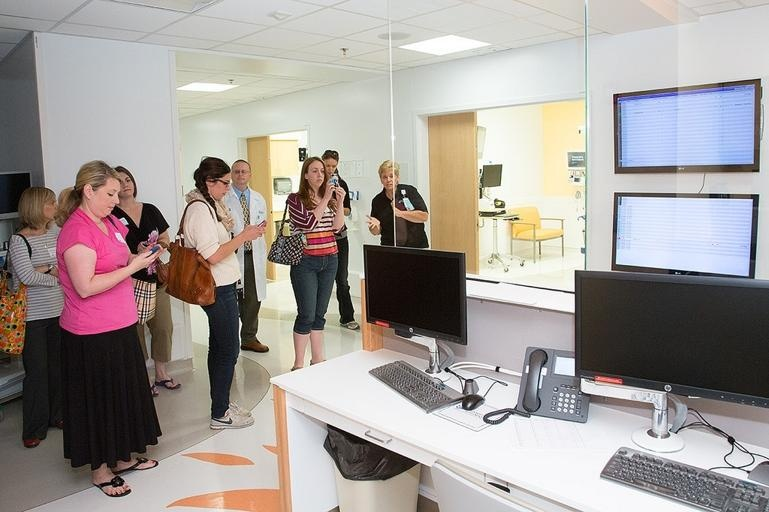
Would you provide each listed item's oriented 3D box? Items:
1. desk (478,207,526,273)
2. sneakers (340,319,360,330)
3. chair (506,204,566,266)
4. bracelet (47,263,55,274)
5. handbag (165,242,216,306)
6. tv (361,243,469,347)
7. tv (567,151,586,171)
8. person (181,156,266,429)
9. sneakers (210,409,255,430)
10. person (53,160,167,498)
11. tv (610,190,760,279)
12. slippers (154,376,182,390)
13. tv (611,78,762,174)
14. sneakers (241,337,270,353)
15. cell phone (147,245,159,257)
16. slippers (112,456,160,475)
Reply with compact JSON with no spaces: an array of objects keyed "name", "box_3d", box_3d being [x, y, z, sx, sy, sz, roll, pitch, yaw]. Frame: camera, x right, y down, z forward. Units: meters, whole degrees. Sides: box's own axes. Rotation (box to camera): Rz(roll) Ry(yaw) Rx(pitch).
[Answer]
[{"name":"desk","box_3d":[0.574,-0.082,2.591,0.253,0.328,0.290,-7,8,-44]},{"name":"sneakers","box_3d":[-0.416,0.836,6.139,0.220,0.090,0.097,-3,-2,37]},{"name":"chair","box_3d":[0.721,-0.109,2.439,0.233,0.231,0.251,4,10,31]},{"name":"bracelet","box_3d":[-2.561,0.094,3.902,0.049,0.067,0.026,3,-18,-31]},{"name":"handbag","box_3d":[-1.354,0.112,3.579,0.469,0.483,0.172,-1,7,30]},{"name":"tv","box_3d":[0.161,0.205,2.828,0.716,0.511,0.094,6,11,43]},{"name":"tv","box_3d":[0.850,-0.428,2.257,0.074,0.060,0.110,1,4,-44]},{"name":"person","box_3d":[-1.209,0.314,3.806,0.489,2.071,0.369,5,15,32]},{"name":"sneakers","box_3d":[-1.189,1.288,3.973,0.240,0.094,0.182,0,0,-15]},{"name":"person","box_3d":[-1.797,0.473,3.260,0.667,2.120,0.420,-12,15,-35]},{"name":"tv","box_3d":[1.773,-0.135,3.037,0.820,0.496,0.037,4,-3,13]},{"name":"slippers","box_3d":[-1.977,1.158,4.655,0.196,0.072,0.104,9,5,12]},{"name":"tv","box_3d":[1.765,-0.753,3.001,0.646,0.407,0.022,0,1,6]},{"name":"sneakers","box_3d":[-1.386,0.959,5.491,0.316,0.143,0.127,1,2,11]},{"name":"cell phone","box_3d":[-1.563,-0.039,3.443,0.068,0.044,0.112,6,9,-15]},{"name":"slippers","box_3d":[-1.716,1.454,3.522,0.312,0.079,0.123,-5,11,-31]}]
